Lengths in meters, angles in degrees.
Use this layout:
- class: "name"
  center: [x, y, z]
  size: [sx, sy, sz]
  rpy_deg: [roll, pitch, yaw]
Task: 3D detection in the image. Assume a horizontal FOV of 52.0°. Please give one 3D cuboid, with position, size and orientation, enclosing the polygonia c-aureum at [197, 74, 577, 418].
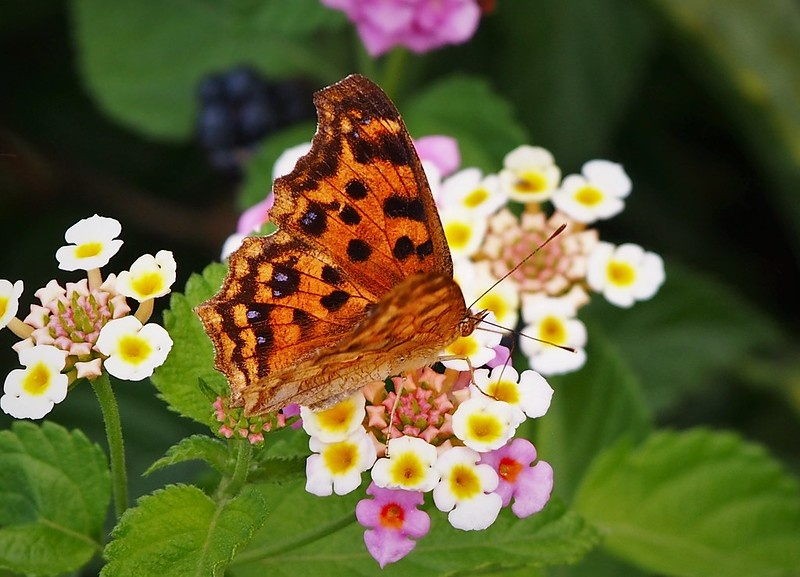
- class: "polygonia c-aureum"
  center: [-0.065, -0.070, 1.642]
  size: [0.603, 0.644, 0.474]
  rpy_deg: [-6, -60, -12]
